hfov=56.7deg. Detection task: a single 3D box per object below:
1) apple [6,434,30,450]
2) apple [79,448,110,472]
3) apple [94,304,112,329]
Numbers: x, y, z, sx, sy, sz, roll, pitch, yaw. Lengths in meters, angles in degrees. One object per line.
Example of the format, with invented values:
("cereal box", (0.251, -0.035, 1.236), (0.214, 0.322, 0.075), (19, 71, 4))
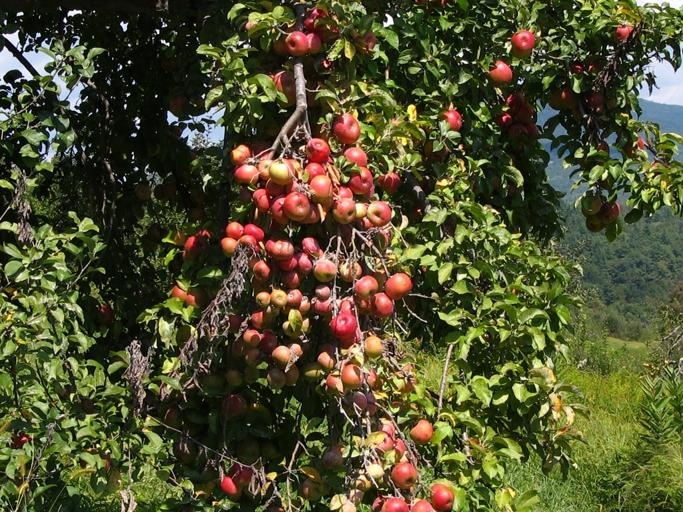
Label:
("apple", (-1.417, 0.812, 2.787), (0.145, 0.068, 0.047), (-19, -28, 28))
("apple", (-1.000, 0.811, 2.602), (0.099, 0.052, 0.141), (6, -66, 16))
("apple", (-1.290, 0.324, 3.459), (0.056, 0.115, 0.081), (-5, 5, 27))
